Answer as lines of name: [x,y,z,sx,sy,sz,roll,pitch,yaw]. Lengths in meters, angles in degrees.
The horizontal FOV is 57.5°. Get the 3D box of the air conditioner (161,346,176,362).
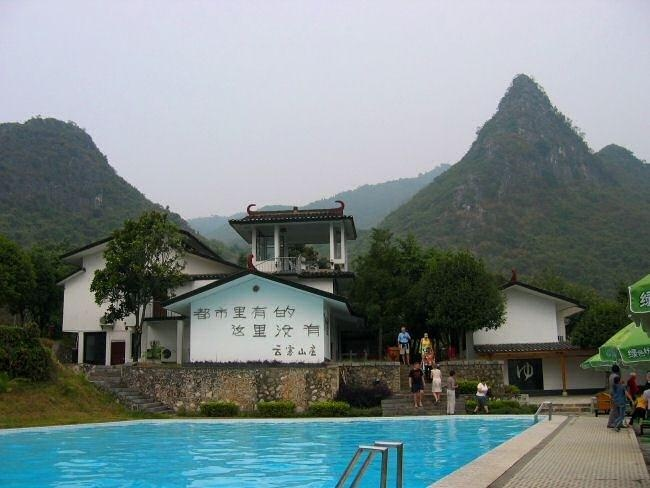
air conditioner: [-9.472,6.739,35.838,1.141,1.226,0.650,0,-12,-8]

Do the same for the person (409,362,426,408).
person: [4.249,6.525,27.346,0.579,1.999,1.101,-2,-12,9]

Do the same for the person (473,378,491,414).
person: [6.912,6.726,26.267,0.647,1.460,1.283,-3,-12,14]

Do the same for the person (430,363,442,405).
person: [5.124,6.552,27.259,0.372,1.553,1.301,-1,-12,8]
